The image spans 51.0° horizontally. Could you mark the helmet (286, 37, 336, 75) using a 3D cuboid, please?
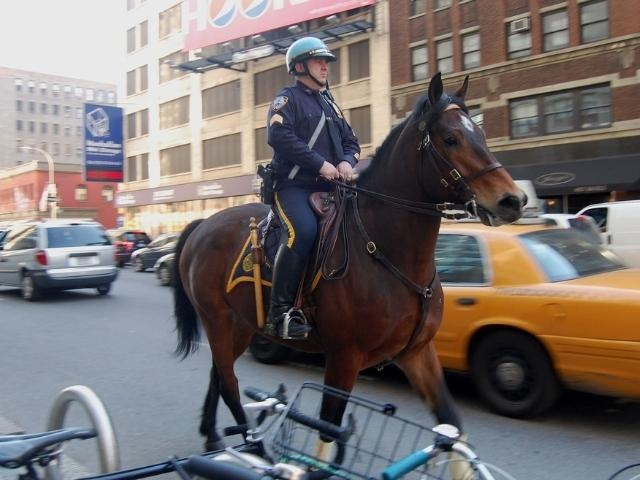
[{"bbox_3d":[-0.091,-1.558,5.664,0.381,0.175,0.291,-5,2,16],"label":"helmet"}]

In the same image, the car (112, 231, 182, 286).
[{"bbox_3d":[-5.612,0.627,21.430,3.207,1.407,1.653,4,-1,31],"label":"car"}]
